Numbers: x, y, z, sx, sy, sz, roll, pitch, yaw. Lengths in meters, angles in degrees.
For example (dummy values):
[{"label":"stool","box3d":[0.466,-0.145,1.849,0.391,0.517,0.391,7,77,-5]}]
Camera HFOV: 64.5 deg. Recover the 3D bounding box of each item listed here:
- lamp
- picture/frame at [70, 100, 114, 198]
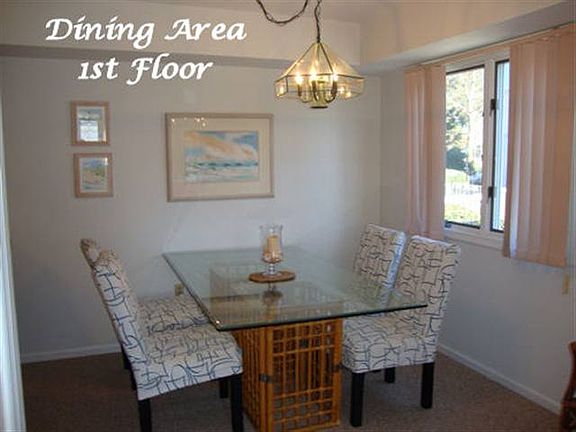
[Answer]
[{"label":"lamp","box3d":[0.210,-0.900,2.866,0.615,0.804,0.558,-1,5,-3]},{"label":"picture/frame","box3d":[-1.630,-0.558,3.813,0.331,0.788,0.095,-6,12,-15]}]
